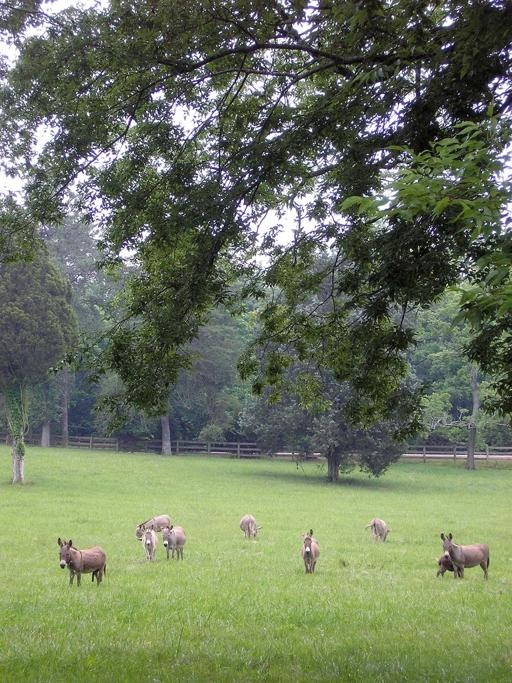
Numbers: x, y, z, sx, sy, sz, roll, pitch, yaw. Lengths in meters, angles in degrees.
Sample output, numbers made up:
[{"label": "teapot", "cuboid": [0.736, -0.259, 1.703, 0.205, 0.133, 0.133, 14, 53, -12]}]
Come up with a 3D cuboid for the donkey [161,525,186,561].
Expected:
[{"label": "donkey", "cuboid": [-1.897, 4.746, 28.746, 0.334, 0.584, 1.069, -3, -28, 1]}]

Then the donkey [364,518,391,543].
[{"label": "donkey", "cuboid": [3.185, 4.945, 32.201, 0.399, 0.589, 0.489, 0, -7, 2]}]

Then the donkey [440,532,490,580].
[{"label": "donkey", "cuboid": [4.326, 4.473, 25.470, 1.013, 0.899, 0.574, 0, -7, -3]}]

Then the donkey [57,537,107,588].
[{"label": "donkey", "cuboid": [-3.417, 4.421, 24.284, 0.427, 0.896, 1.317, -5, -12, 36]}]

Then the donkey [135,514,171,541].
[{"label": "donkey", "cuboid": [-2.387, 4.424, 29.650, 0.373, 0.822, 1.554, -10, -14, 25]}]
